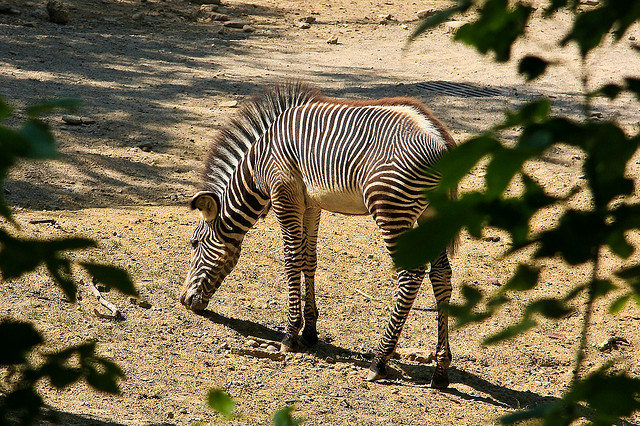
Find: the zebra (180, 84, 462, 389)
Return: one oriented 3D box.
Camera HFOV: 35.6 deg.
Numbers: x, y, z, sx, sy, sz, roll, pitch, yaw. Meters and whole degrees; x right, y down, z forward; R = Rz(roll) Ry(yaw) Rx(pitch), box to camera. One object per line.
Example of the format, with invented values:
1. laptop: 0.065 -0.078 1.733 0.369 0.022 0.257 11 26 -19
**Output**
1. zebra: -0.182 0.019 11.817 2.746 2.940 1.593 14 23 7
